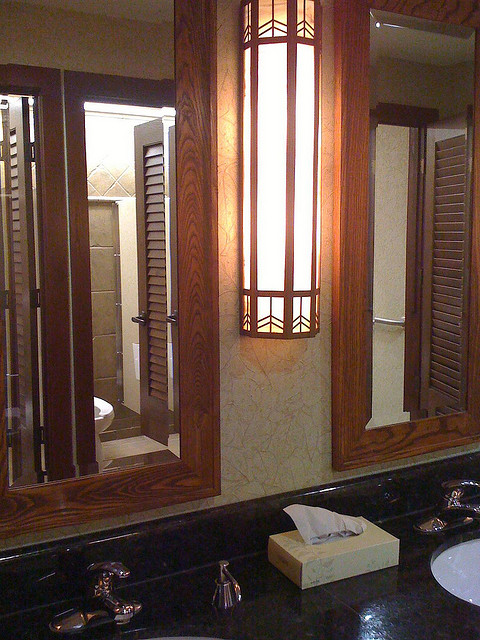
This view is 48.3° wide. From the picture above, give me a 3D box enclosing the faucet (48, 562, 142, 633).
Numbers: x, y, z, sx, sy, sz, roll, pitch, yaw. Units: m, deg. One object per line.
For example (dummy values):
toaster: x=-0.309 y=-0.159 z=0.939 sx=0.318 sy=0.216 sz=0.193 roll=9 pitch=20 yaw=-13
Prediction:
faucet: x=-0.230 y=0.411 z=0.853 sx=0.091 sy=0.068 sz=0.104 roll=-17 pitch=-16 yaw=38
